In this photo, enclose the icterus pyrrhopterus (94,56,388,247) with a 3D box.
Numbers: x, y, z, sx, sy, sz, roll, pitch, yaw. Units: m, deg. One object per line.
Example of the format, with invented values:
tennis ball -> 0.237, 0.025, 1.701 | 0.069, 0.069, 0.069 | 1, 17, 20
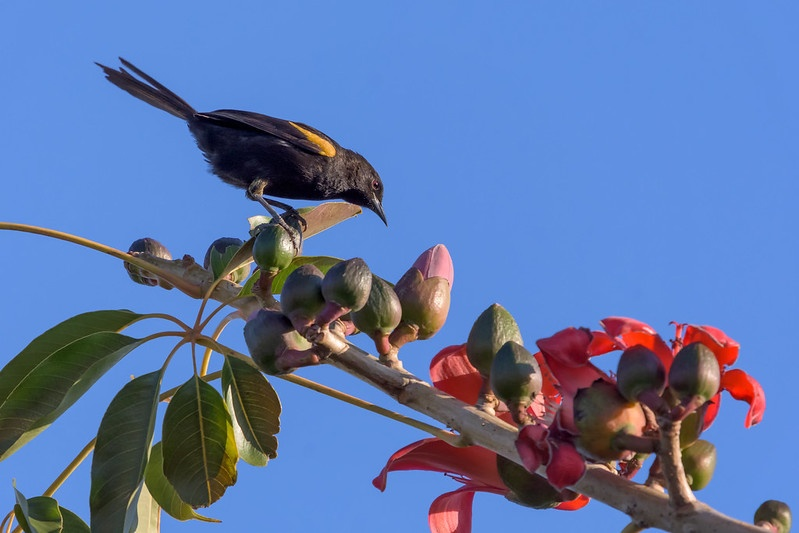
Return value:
icterus pyrrhopterus -> -0.880, -0.657, 8.767 | 1.867, 0.730, 0.569 | 30, -15, -17
